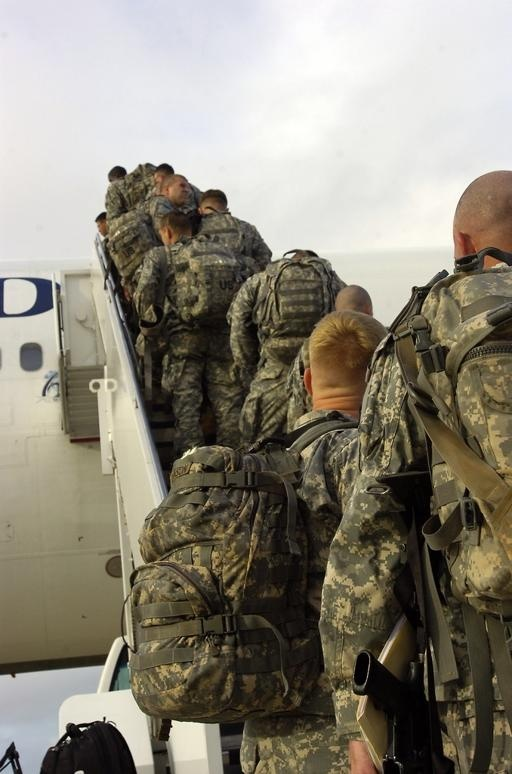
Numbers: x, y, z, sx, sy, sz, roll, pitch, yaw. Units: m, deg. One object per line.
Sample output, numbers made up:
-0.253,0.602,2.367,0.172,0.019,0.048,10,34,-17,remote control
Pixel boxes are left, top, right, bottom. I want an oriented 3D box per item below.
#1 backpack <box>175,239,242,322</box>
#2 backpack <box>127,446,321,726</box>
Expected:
-0.397,-0.896,5.980,0.621,0.718,0.490,-7,-5,-22,backpack
-0.070,0.622,2.171,0.471,0.798,0.739,14,-26,-28,backpack
